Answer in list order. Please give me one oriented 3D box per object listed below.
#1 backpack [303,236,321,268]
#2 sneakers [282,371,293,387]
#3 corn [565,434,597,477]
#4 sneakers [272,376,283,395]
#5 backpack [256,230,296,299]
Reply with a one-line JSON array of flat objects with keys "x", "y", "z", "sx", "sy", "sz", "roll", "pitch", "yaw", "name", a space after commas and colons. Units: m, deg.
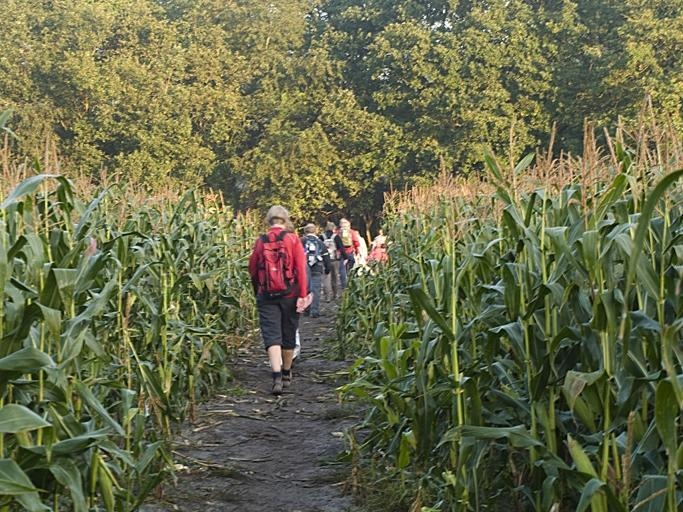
[{"x": -0.547, "y": -0.120, "z": 12.409, "sx": 0.344, "sy": 0.487, "sz": 0.480, "roll": 0, "pitch": -8, "yaw": -2, "name": "backpack"}, {"x": -0.618, "y": 1.379, "z": 7.607, "sx": 0.113, "sy": 0.149, "sz": 0.346, "roll": 0, "pitch": -10, "yaw": -3, "name": "sneakers"}, {"x": 1.277, "y": 1.071, "z": 3.673, "sx": 0.090, "sy": 0.326, "sz": 0.072, "roll": 1, "pitch": 37, "yaw": 50, "name": "corn"}, {"x": -0.703, "y": 1.386, "z": 7.421, "sx": 0.112, "sy": 0.194, "sz": 0.305, "roll": -2, "pitch": 6, "yaw": -4, "name": "sneakers"}, {"x": -0.721, "y": 0.096, "z": 7.413, "sx": 0.457, "sy": 0.711, "sz": 0.442, "roll": -6, "pitch": 6, "yaw": -24, "name": "backpack"}]
